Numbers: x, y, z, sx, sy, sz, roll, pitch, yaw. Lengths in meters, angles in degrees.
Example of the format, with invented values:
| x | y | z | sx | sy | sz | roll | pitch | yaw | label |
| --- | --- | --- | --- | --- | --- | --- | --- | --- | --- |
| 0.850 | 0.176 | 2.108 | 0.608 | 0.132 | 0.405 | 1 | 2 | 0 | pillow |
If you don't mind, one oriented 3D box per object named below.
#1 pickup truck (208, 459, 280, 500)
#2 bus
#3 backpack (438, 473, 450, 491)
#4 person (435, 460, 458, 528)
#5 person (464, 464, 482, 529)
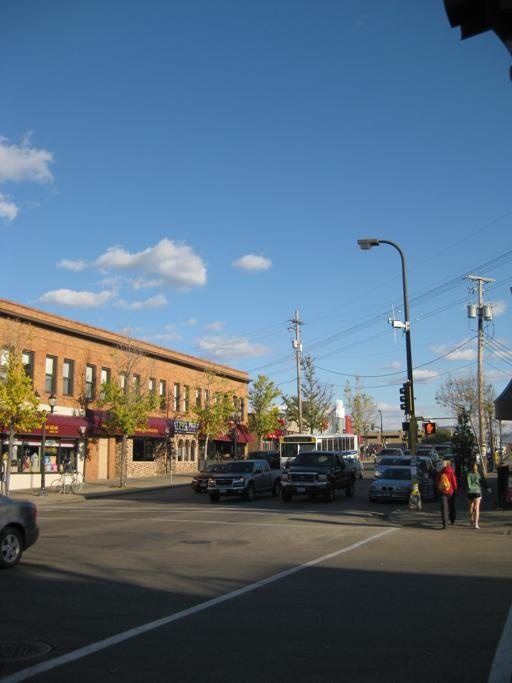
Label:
| x | y | z | sx | sy | sz | roll | pitch | yaw | label |
| --- | --- | --- | --- | --- | --- | --- | --- | --- | --- |
| -0.492 | 5.959 | 28.249 | 1.577 | 1.153 | 3.333 | -5 | -12 | 20 | pickup truck |
| 4.561 | 7.520 | 43.893 | 2.515 | 2.573 | 8.961 | -4 | -10 | 19 | bus |
| 4.679 | 3.543 | 16.306 | 0.273 | 0.494 | 0.171 | -2 | -9 | 7 | backpack |
| 4.891 | 3.890 | 16.825 | 0.466 | 1.679 | 1.401 | -4 | -10 | 16 | person |
| 5.821 | 4.058 | 17.583 | 0.364 | 1.552 | 3.310 | -4 | -10 | 17 | person |
